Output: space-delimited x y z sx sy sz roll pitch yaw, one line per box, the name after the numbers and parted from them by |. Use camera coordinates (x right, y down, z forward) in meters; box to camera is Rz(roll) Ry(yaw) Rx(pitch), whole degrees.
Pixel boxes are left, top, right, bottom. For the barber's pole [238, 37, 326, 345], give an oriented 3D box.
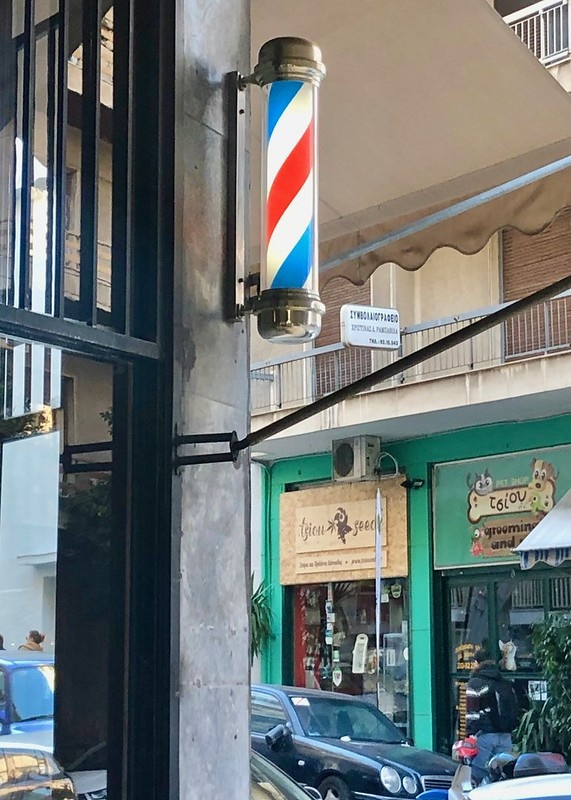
-0.005 -0.503 3.682 0.192 0.739 0.252 0 -8 -2 | barber's pole

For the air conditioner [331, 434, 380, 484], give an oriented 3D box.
0.779 0.664 16.544 0.338 0.716 0.657 3 -1 -26 | air conditioner
